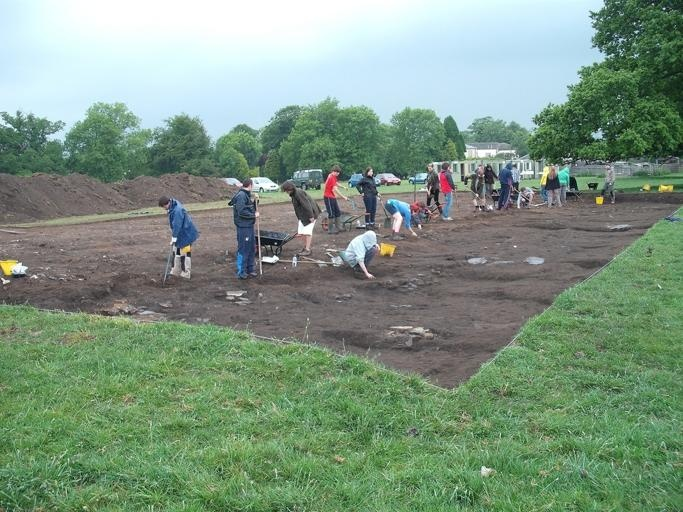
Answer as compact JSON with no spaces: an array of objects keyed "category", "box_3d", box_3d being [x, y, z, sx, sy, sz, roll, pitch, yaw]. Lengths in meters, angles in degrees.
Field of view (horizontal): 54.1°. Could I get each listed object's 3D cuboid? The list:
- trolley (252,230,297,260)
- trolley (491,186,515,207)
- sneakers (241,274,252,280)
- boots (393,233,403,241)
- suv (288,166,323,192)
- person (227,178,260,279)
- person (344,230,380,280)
[{"category":"trolley","box_3d":[-1.648,-0.294,16.190,1.098,0.388,0.514,3,12,19]},{"category":"trolley","box_3d":[7.134,-2.553,29.039,1.126,0.483,0.760,-2,13,-3]},{"category":"sneakers","box_3d":[-2.053,0.455,14.542,0.240,0.085,0.086,-4,18,-2]},{"category":"boots","box_3d":[1.595,-0.539,19.061,0.143,0.173,0.461,-17,2,-38]},{"category":"suv","box_3d":[-3.139,-6.785,57.702,2.159,1.728,3.633,-12,22,-42]},{"category":"person","box_3d":[-2.158,-0.688,14.848,0.554,2.123,1.334,-3,15,-8]},{"category":"person","box_3d":[0.429,-0.044,14.533,0.745,1.009,1.314,-2,14,-5]}]
